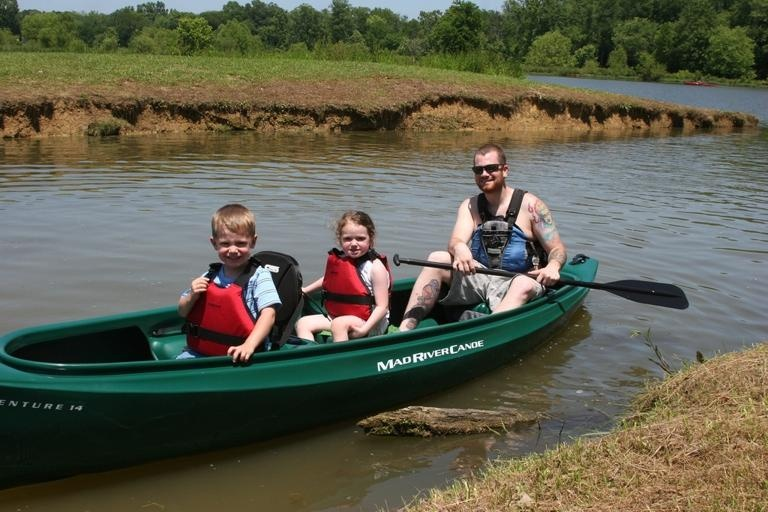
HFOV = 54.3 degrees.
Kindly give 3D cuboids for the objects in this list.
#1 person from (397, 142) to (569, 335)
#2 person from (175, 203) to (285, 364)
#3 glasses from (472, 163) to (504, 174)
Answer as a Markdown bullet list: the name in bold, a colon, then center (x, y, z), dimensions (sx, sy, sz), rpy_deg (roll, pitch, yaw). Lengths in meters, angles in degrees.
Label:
- **person**: center (0.881, -0.075, 6.736), dimensions (1.662, 1.561, 1.176), rpy_deg (-12, 19, -31)
- **person**: center (-1.158, 0.220, 5.518), dimensions (0.778, 1.178, 0.562), rpy_deg (-3, 13, -13)
- **glasses**: center (0.941, -0.780, 6.766), dimensions (0.270, 0.104, 0.138), rpy_deg (2, 12, 12)
